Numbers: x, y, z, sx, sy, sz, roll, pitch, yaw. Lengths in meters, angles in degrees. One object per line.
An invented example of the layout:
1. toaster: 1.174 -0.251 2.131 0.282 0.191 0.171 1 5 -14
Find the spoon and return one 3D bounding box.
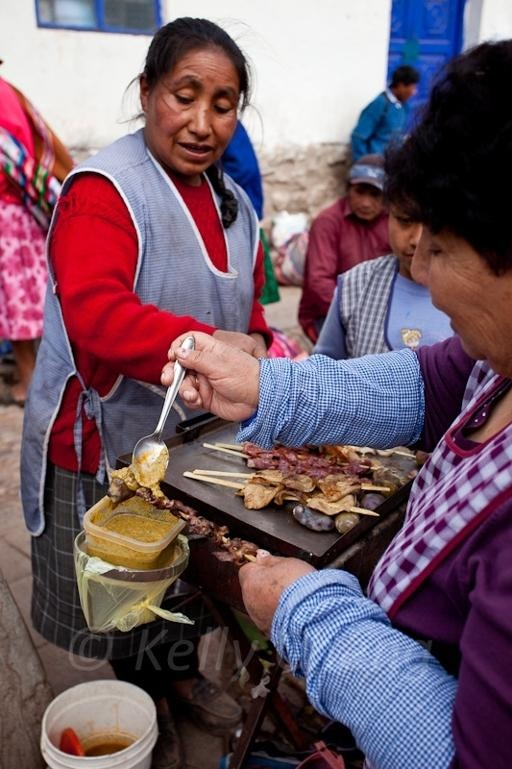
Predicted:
1. spoon: -0.213 0.030 1.461 0.105 0.418 0.061 18 -14 -8

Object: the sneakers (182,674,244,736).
1. sneakers: -0.154 1.101 2.192 0.157 0.126 0.329 18 -15 -42
